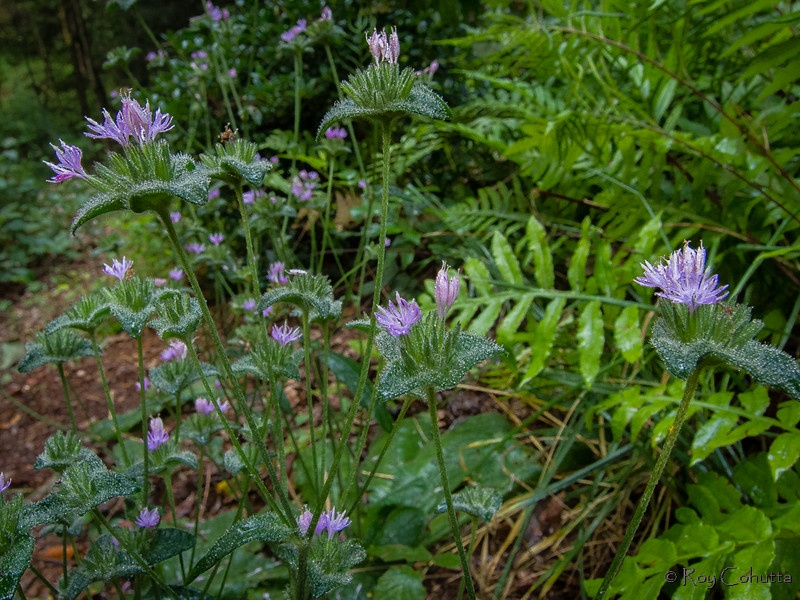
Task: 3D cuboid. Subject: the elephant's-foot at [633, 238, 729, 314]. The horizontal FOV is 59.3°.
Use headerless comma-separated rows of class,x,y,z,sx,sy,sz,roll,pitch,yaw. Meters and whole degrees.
elephant's-foot,0.795,-0.061,2.026,0.229,0.233,0.245,-2,34,15
